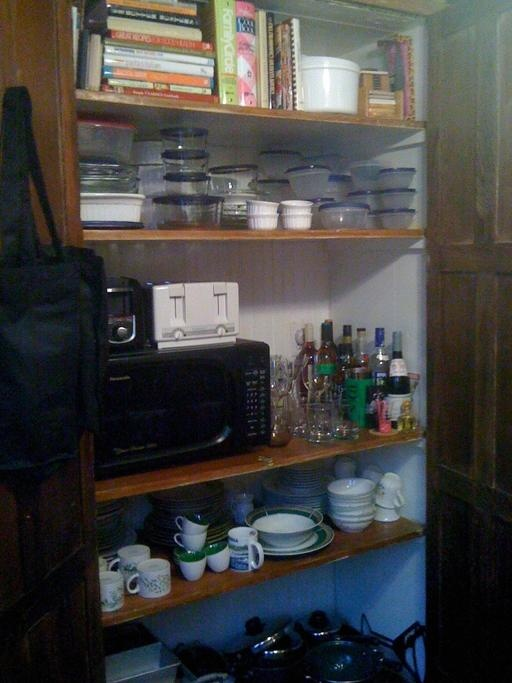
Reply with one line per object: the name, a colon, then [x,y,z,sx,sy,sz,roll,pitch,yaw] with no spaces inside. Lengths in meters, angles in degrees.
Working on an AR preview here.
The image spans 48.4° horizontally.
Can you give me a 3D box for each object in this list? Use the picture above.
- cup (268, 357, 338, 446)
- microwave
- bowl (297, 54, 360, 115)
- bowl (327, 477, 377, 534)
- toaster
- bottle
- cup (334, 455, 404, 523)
cup: [0.109,0.160,1.495,0.245,0.239,0.142,1,4,13]
microwave: [-0.186,0.103,1.271,0.419,0.267,0.248,-6,10,-35]
bowl: [0.171,-0.581,1.353,0.135,0.121,0.142,1,6,0]
bowl: [0.266,0.452,1.566,0.120,0.105,0.130,0,0,0]
toaster: [-0.134,-0.071,1.265,0.189,0.136,0.114,-4,19,-15]
bottle: [0.295,0.092,1.598,0.327,0.360,0.262,-2,-4,30]
cup: [0.308,0.420,1.613,0.137,0.088,0.199,0,-6,19]
